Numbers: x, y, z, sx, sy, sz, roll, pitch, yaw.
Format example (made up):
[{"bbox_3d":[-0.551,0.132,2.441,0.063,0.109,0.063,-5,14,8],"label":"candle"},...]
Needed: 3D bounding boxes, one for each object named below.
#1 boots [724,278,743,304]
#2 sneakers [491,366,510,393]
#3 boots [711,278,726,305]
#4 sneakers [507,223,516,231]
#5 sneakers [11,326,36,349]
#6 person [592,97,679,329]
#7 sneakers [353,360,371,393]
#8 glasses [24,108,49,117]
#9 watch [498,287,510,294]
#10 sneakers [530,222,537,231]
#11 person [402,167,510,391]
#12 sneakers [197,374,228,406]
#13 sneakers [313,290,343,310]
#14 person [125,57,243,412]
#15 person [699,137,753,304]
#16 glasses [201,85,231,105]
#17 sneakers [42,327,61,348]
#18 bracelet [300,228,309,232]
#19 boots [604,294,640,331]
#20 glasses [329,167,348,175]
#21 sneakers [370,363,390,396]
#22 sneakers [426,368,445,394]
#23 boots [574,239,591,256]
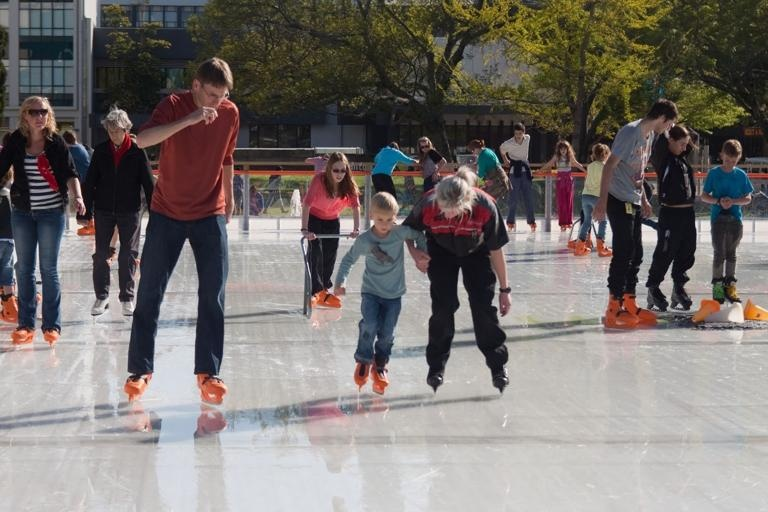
[{"bbox_3d":[3.953,0.379,9.436,0.148,0.257,0.398,3,8,21],"label":"boots"},{"bbox_3d":[0.907,0.930,6.367,0.086,0.246,0.120,1,27,6],"label":"sneakers"},{"bbox_3d":[3.793,0.392,9.394,0.139,0.255,0.235,3,8,21],"label":"boots"},{"bbox_3d":[2.756,-0.620,17.844,0.186,0.161,0.143,-2,6,15],"label":"sneakers"},{"bbox_3d":[-3.304,0.735,7.597,0.132,0.105,0.245,-7,5,-11],"label":"sneakers"},{"bbox_3d":[2.512,-0.451,8.515,0.841,2.298,0.579,-1,7,-10],"label":"person"},{"bbox_3d":[-0.165,0.937,6.537,0.106,0.260,0.090,5,-6,32],"label":"sneakers"},{"bbox_3d":[-3.081,-1.287,7.381,0.165,0.067,0.064,-4,8,-28],"label":"glasses"},{"bbox_3d":[0.961,0.269,6.549,0.056,0.032,0.055,-2,3,-12],"label":"watch"},{"bbox_3d":[3.252,-0.629,17.948,0.098,0.105,0.268,-1,-2,-2],"label":"sneakers"},{"bbox_3d":[0.592,0.189,6.401,0.860,1.717,0.668,0,7,0],"label":"person"},{"bbox_3d":[-1.256,0.986,6.169,0.141,0.134,0.299,0,2,-37],"label":"sneakers"},{"bbox_3d":[-0.645,0.493,9.452,0.542,0.236,0.215,-1,2,2],"label":"sneakers"},{"bbox_3d":[-1.496,-0.196,6.197,0.829,2.537,0.559,-1,8,-10],"label":"person"},{"bbox_3d":[3.928,-0.415,9.546,0.532,1.836,1.274,3,8,23],"label":"person"},{"bbox_3d":[-1.242,-1.186,6.093,0.129,0.114,0.156,-2,6,-25],"label":"glasses"},{"bbox_3d":[-3.009,0.734,7.575,0.119,0.152,0.157,16,35,43],"label":"sneakers"},{"bbox_3d":[-0.879,-0.295,9.254,0.051,0.034,0.050,1,1,0],"label":"bracelet"},{"bbox_3d":[2.466,0.553,8.586,0.371,0.345,0.143,-1,-13,45],"label":"boots"},{"bbox_3d":[-0.479,-0.954,9.220,0.186,0.061,0.116,-2,8,-16],"label":"glasses"},{"bbox_3d":[-0.026,0.956,6.456,0.090,0.112,0.276,4,34,-8],"label":"sneakers"},{"bbox_3d":[0.405,0.952,6.481,0.119,0.192,0.233,1,7,3],"label":"sneakers"},{"bbox_3d":[3.405,-0.154,14.077,0.209,0.287,0.441,6,19,25],"label":"boots"}]
